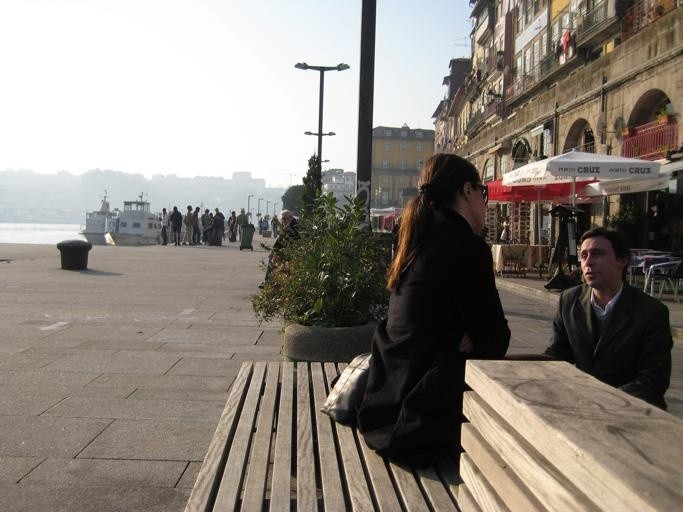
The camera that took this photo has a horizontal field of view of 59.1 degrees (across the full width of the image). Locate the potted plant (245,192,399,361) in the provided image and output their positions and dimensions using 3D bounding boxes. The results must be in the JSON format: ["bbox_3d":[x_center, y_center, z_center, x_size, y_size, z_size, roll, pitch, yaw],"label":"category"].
[{"bbox_3d":[-0.160,0.281,6.741,1.622,2.461,1.530,3,10,-5],"label":"potted plant"}]

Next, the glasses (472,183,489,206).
[{"bbox_3d":[0.749,-0.351,3.221,0.098,0.038,0.109,24,-30,-2],"label":"glasses"}]

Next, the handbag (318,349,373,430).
[{"bbox_3d":[0.034,0.777,3.448,0.128,0.448,0.239,18,-6,-36],"label":"handbag"}]

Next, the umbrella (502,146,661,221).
[{"bbox_3d":[5.183,-1.761,12.962,1.933,0.795,2.101,-4,4,-3],"label":"umbrella"}]

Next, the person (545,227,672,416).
[{"bbox_3d":[1.652,0.345,3.686,0.427,1.015,0.769,-1,5,-30],"label":"person"}]

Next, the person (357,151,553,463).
[{"bbox_3d":[0.469,0.239,2.987,0.638,1.518,0.534,0,4,-22],"label":"person"}]

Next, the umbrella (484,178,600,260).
[{"bbox_3d":[5.597,-1.132,17.265,2.902,2.360,3.397,-5,8,-19],"label":"umbrella"}]
